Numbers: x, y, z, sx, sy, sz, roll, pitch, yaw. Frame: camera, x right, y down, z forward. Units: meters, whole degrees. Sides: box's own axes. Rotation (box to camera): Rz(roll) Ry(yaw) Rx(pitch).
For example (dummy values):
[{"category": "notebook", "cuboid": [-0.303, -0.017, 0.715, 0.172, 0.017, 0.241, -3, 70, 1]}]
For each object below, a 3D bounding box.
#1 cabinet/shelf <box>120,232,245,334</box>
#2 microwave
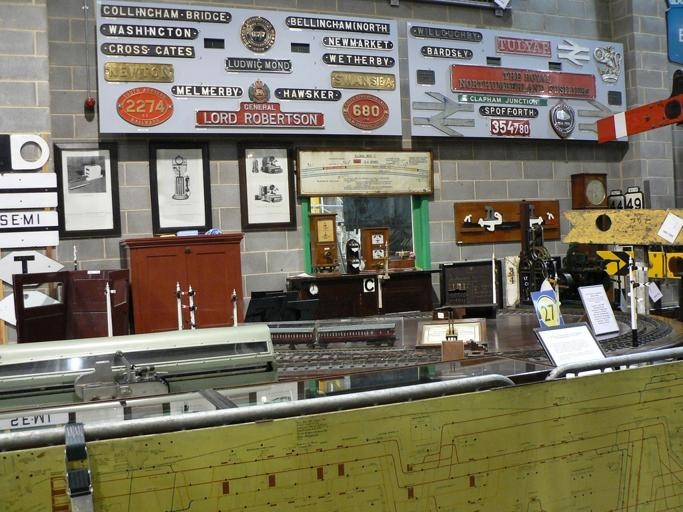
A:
[{"category": "cabinet/shelf", "cuboid": [-1.646, 0.284, 10.227, 1.043, 1.028, 0.428, -1, -2, -19]}, {"category": "microwave", "cuboid": [1.386, 0.292, 10.286, 0.689, 0.465, 0.396, -4, 0, 30]}]
